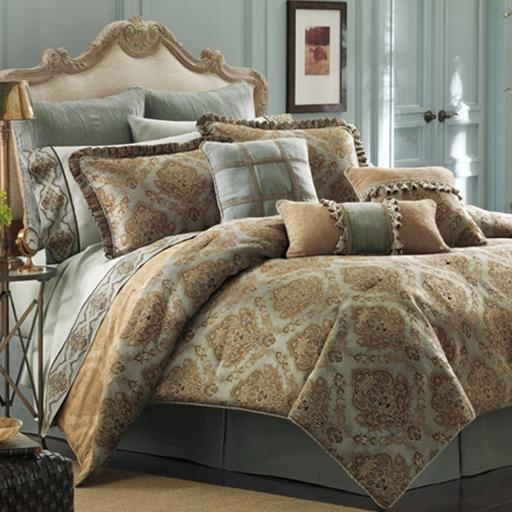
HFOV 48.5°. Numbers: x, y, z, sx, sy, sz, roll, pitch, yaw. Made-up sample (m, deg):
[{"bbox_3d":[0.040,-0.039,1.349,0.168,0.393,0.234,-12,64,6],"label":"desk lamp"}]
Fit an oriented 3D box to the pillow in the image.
[{"bbox_3d":[-0.439,-0.394,2.695,1.438,0.670,1.289,-18,24,-36],"label":"pillow"}]
